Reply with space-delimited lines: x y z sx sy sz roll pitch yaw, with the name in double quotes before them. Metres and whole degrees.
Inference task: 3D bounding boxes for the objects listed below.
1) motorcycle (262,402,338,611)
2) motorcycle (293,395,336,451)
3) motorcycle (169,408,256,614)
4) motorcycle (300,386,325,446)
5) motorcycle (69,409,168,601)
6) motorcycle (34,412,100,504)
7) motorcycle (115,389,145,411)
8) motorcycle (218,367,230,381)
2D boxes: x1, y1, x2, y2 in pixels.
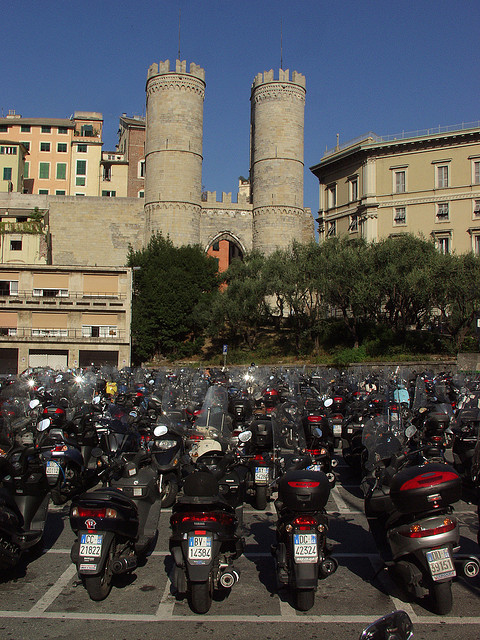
"motorcycle" 0.505 1.591 5.140 0.794 1.568 1.995 0 -1 0
"motorcycle" 1.185 1.610 9.028 0.583 0.758 1.247 -1 0 5
"motorcycle" -0.312 1.626 5.019 0.714 1.518 1.994 0 -4 0
"motorcycle" 1.305 1.498 9.326 0.482 0.700 1.203 1 11 13
"motorcycle" -1.132 1.724 5.424 0.797 1.328 2.176 -2 3 4
"motorcycle" -2.529 1.961 8.441 0.942 1.279 1.927 -4 -8 -5
"motorcycle" -2.698 1.966 14.066 0.618 0.416 0.846 10 -5 -31
"motorcycle" -0.588 2.106 22.149 0.281 0.347 0.602 8 -20 12
